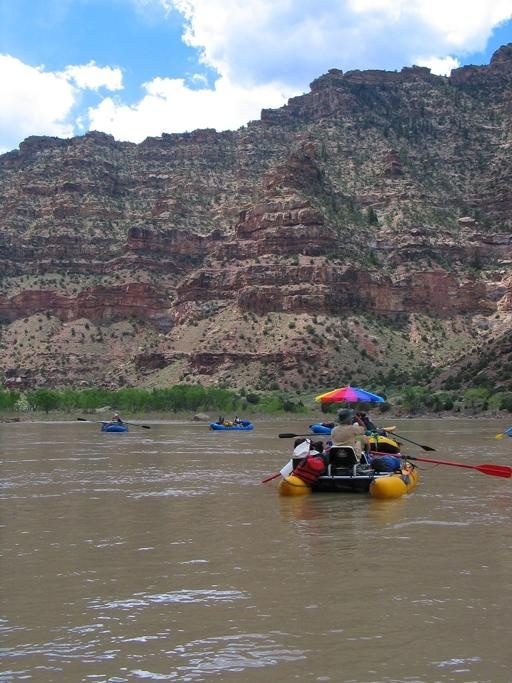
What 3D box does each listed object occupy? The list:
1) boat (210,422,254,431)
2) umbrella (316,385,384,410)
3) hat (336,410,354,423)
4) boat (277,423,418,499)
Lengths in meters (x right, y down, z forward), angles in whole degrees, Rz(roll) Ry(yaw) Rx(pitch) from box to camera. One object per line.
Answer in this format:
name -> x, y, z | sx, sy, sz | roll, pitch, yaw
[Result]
boat -> -1.598, 5.522, 68.727 | 2.123, 0.340, 0.894 | 0, -7, -12
umbrella -> 6.130, 3.701, 69.425 | 3.759, 1.305, 3.385 | -3, -12, 13
hat -> 1.982, 1.727, 24.116 | 0.342, 0.367, 0.464 | -7, 9, 2
boat -> 2.260, 2.980, 26.352 | 2.960, 1.208, 3.751 | -1, -3, 9
